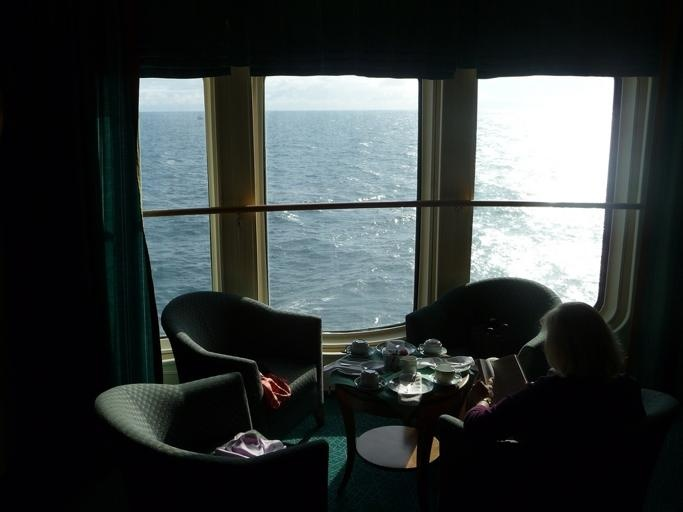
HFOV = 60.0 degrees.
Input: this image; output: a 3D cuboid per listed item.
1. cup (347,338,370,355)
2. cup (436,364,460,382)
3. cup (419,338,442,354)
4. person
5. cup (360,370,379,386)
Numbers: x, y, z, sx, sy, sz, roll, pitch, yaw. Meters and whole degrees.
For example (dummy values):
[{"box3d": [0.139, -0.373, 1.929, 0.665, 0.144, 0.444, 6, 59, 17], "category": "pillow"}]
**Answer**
[{"box3d": [0.115, 0.582, 3.830, 0.114, 0.079, 0.087, -1, 3, 5], "category": "cup"}, {"box3d": [0.613, 0.675, 3.460, 0.101, 0.072, 0.090, -1, 3, -17], "category": "cup"}, {"box3d": [0.588, 0.583, 3.856, 0.110, 0.079, 0.084, -2, 3, 4], "category": "cup"}, {"box3d": [0.941, 0.523, 2.598, 0.753, 0.608, 0.279, 4, 13, 12], "category": "person"}, {"box3d": [0.168, 0.696, 3.449, 0.084, 0.080, 0.084, 0, 10, 0], "category": "cup"}]
